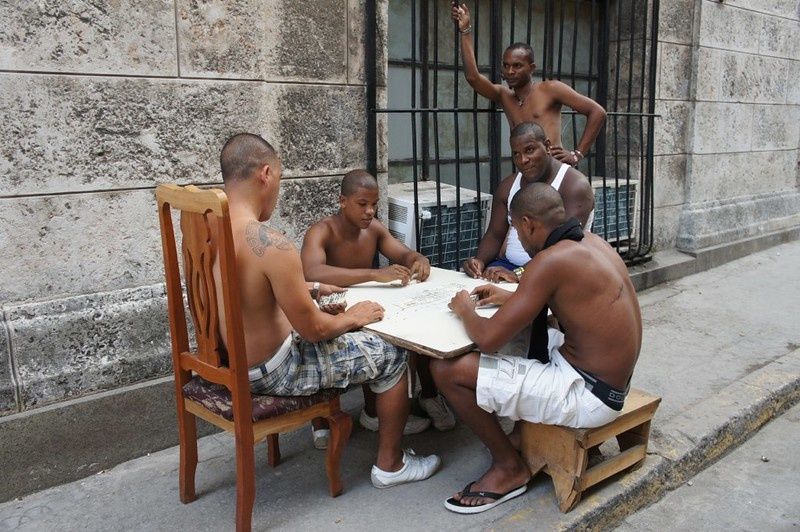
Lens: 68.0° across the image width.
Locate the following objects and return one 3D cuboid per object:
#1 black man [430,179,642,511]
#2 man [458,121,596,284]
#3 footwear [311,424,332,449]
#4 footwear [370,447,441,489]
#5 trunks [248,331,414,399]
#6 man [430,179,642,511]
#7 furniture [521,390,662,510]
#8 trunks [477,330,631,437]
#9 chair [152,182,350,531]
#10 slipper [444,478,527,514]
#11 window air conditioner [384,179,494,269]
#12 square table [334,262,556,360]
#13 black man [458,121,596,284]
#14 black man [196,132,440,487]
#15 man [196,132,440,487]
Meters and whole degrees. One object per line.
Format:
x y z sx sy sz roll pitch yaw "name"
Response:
0.811 0.491 3.571 1.087 1.824 1.062 8 11 33 "black man"
0.944 -0.420 4.308 1.023 1.197 1.008 -8 13 -8 "man"
-0.513 1.109 3.855 0.100 0.064 0.174 -2 6 -17 "footwear"
0.046 1.195 3.612 0.440 0.181 0.171 -10 16 -28 "footwear"
-0.425 0.537 3.529 0.924 0.326 0.621 -2 12 -4 "trunks"
0.847 0.493 3.623 1.098 1.803 1.019 7 10 23 "man"
1.124 1.048 3.618 0.739 0.448 0.687 -8 9 -27 "furniture"
0.784 0.612 3.228 0.541 0.219 0.508 8 16 38 "trunks"
-0.897 0.485 3.238 0.971 1.838 0.560 4 15 25 "chair"
0.487 1.317 3.394 0.352 0.086 0.174 -3 5 -16 "slipper"
0.319 -0.310 5.495 0.853 0.804 0.669 -11 12 -34 "window air conditioner"
0.095 0.296 3.539 0.668 0.165 0.704 17 30 35 "square table"
0.954 -0.430 4.335 0.879 1.217 1.027 1 15 27 "black man"
-0.484 0.304 3.626 1.259 2.063 0.980 -10 12 -43 "black man"
-0.461 0.308 3.623 1.025 2.077 1.306 5 10 38 "man"
